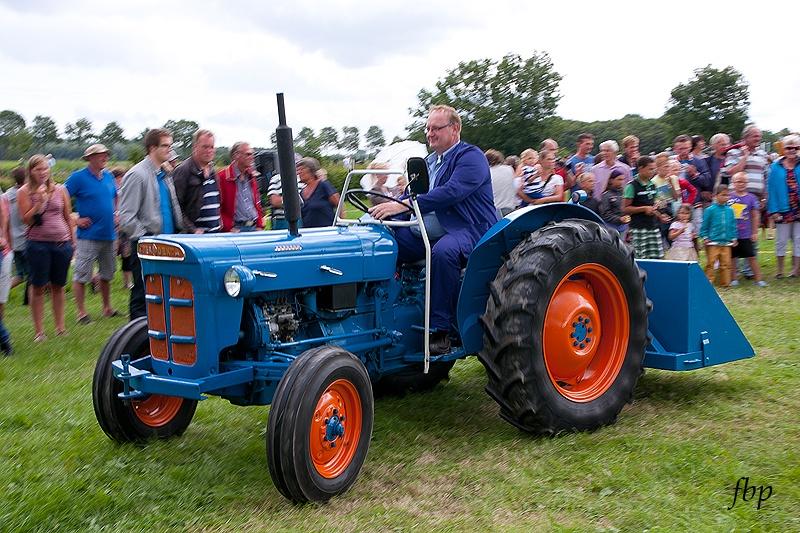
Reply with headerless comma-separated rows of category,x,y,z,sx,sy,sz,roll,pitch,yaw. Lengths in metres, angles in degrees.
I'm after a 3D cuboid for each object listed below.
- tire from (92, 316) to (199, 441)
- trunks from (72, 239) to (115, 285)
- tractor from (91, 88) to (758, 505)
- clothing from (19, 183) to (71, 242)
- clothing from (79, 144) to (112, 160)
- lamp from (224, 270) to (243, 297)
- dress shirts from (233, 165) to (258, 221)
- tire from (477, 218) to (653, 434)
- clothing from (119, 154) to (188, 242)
tire,-1.867,0.853,4.047,0.350,0.836,0.791,7,26,29
trunks,-4.315,-0.092,7.702,0.707,0.603,0.253,-2,8,-43
tractor,0.470,0.144,5.424,5.806,2.503,2.888,-4,4,-41
clothing,-4.498,-0.674,6.951,0.486,0.716,0.489,-9,15,-31
clothing,-4.157,-1.561,7.430,0.282,0.087,0.216,-11,1,31
lamp,-1.106,0.107,3.652,0.171,0.187,0.085,-7,-9,39
dress shirts,-2.055,-0.880,7.332,0.445,0.535,0.191,-2,4,-20
tire,1.310,0.483,4.381,1.963,1.830,0.613,1,-1,-35
clothing,-2.771,-0.772,6.253,0.551,0.865,0.982,10,16,37
